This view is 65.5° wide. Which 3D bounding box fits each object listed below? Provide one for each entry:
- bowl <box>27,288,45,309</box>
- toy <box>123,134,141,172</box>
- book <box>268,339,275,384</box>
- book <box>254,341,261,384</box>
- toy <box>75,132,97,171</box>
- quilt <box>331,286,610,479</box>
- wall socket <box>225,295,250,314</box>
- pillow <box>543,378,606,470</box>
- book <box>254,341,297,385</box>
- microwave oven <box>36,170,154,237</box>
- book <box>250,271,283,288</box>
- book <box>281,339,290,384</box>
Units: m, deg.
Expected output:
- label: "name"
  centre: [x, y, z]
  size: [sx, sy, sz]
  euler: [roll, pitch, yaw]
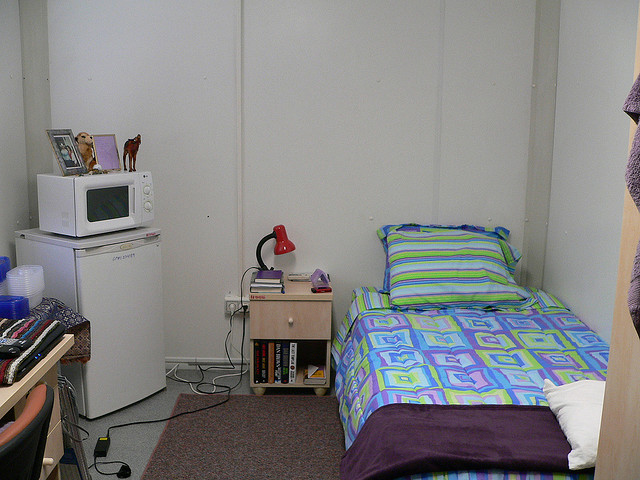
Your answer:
- label: "bowl"
  centre: [-1.456, 0.298, 2.558]
  size: [0.083, 0.066, 0.084]
  euler: [0, 6, 0]
- label: "toy"
  centre: [-1.222, -0.563, 3.219]
  size: [0.079, 0.242, 0.230]
  euler: [0, 9, -43]
- label: "book"
  centre: [-0.317, 0.800, 3.269]
  size: [0.059, 0.294, 0.012]
  euler: [-4, 5, -1]
- label: "book"
  centre: [-0.411, 0.804, 3.265]
  size: [0.050, 0.283, 0.011]
  euler: [-4, 5, -9]
- label: "toy"
  centre: [-1.400, -0.527, 2.988]
  size: [0.108, 0.230, 0.075]
  euler: [-6, 5, -26]
- label: "quilt"
  centre: [0.846, 0.668, 2.748]
  size: [1.482, 0.575, 1.236]
  euler: [-4, 4, -4]
- label: "wall socket"
  centre: [-0.598, 0.444, 3.556]
  size: [0.189, 0.136, 0.112]
  euler: [0, 5, -3]
- label: "pillow"
  centre: [1.001, 0.683, 1.915]
  size: [0.308, 0.083, 0.341]
  euler: [-9, 38, 19]
- label: "book"
  centre: [-0.342, 0.811, 3.363]
  size: [0.261, 0.275, 0.199]
  euler: [2, -5, -12]
- label: "microwave oven"
  centre: [-1.354, -0.318, 2.991]
  size: [0.414, 0.385, 0.574]
  euler: [6, 11, 27]
- label: "book"
  centre: [-0.348, 0.264, 3.286]
  size: [0.205, 0.096, 0.174]
  euler: [-4, 4, -4]
- label: "book"
  centre: [-0.225, 0.799, 3.269]
  size: [0.070, 0.295, 0.020]
  euler: [-4, 5, -9]
